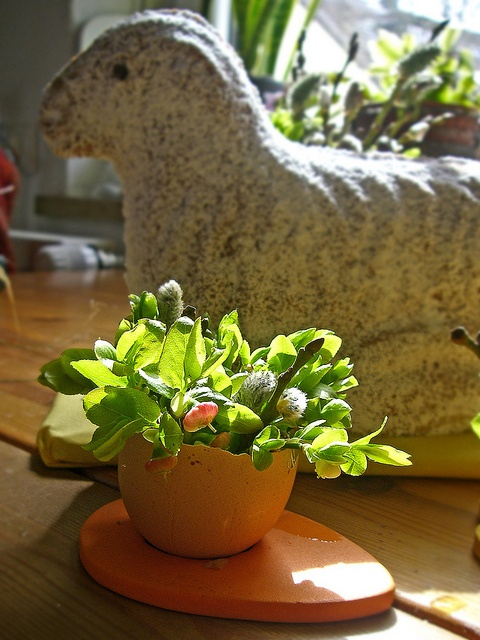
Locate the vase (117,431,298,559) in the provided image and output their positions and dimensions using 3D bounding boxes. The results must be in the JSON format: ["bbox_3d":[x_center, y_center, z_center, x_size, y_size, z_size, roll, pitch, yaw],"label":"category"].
[{"bbox_3d":[-0.019,0.104,0.344,0.093,0.049,0.085,7,-15,-10],"label":"vase"}]

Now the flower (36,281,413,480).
[{"bbox_3d":[-0.002,0.041,0.343,0.216,0.075,0.101,13,23,5],"label":"flower"}]
